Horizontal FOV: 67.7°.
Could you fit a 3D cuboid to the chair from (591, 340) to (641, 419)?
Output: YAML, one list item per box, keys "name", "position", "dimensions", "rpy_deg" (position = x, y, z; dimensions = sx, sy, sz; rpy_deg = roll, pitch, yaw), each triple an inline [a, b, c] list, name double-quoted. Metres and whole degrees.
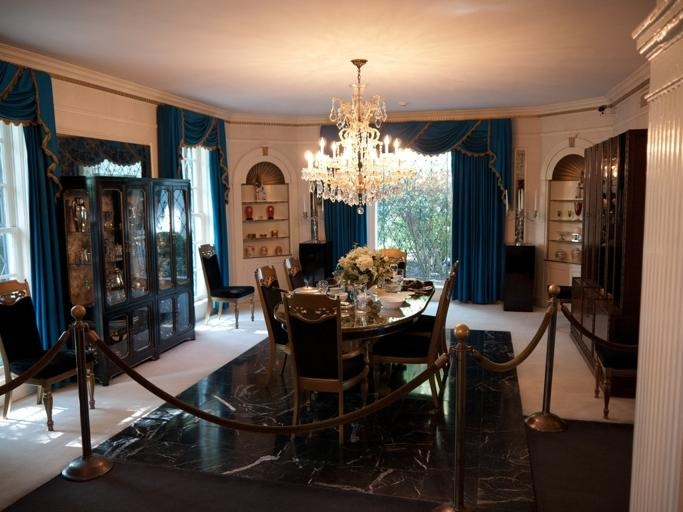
- name: "chair"
  position: [2.628, 1.099, 4.869]
  dimensions: [0.355, 0.704, 0.679]
  rpy_deg: [1, 8, 29]

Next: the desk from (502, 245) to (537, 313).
- name: "desk"
  position: [2.957, 0.339, 8.451]
  dimensions: [0.519, 0.942, 0.571]
  rpy_deg: [-1, 3, 16]

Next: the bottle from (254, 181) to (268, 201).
- name: "bottle"
  position: [-1.463, -1.120, 9.046]
  dimensions: [0.281, 0.466, 0.277]
  rpy_deg: [-1, 3, 0]

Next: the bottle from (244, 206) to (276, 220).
- name: "bottle"
  position: [-1.490, -0.750, 9.070]
  dimensions: [0.566, 0.272, 0.189]
  rpy_deg: [-4, 7, -11]

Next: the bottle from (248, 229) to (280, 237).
- name: "bottle"
  position: [-1.434, -0.364, 9.099]
  dimensions: [0.591, 0.124, 0.218]
  rpy_deg: [-4, 7, -11]

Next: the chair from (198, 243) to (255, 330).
- name: "chair"
  position: [-1.798, 0.438, 7.787]
  dimensions: [0.756, 1.152, 0.676]
  rpy_deg: [2, 5, 11]

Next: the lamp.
- name: "lamp"
  position: [0.173, -1.400, 6.101]
  dimensions: [1.310, 1.847, 1.359]
  rpy_deg: [7, 16, 25]

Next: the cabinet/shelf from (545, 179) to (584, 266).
- name: "cabinet/shelf"
  position: [3.649, -0.551, 8.263]
  dimensions: [0.579, 1.329, 0.421]
  rpy_deg: [4, 10, 45]

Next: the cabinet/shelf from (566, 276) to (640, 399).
- name: "cabinet/shelf"
  position: [2.683, 0.851, 5.162]
  dimensions: [0.249, 0.512, 1.138]
  rpy_deg: [0, 8, 9]
